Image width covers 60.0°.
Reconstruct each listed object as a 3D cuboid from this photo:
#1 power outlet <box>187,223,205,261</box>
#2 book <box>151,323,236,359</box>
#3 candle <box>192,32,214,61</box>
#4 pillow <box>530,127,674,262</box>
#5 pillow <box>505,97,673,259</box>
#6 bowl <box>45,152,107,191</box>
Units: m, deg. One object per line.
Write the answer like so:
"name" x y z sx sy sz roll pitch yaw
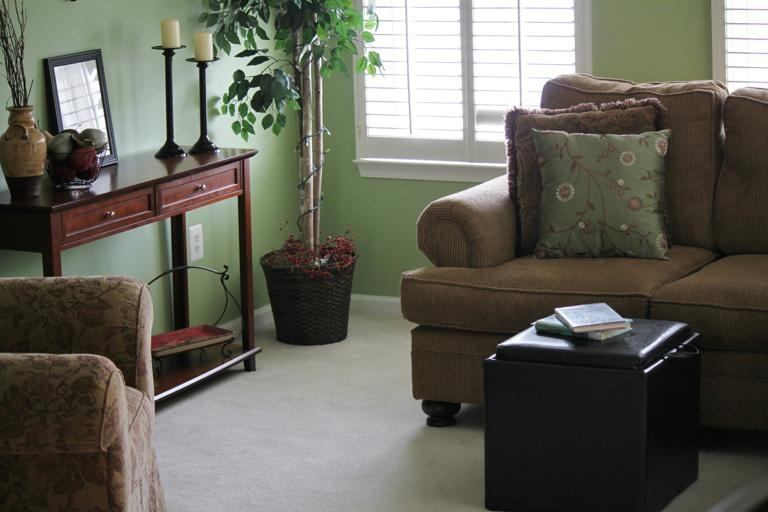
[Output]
"power outlet" -0.994 -0.072 3.500 0.034 0.208 0.191 1 5 21
"book" -0.928 0.386 3.178 0.264 0.036 0.161 -10 16 -37
"candle" -0.869 -1.007 3.202 0.087 0.136 0.058 -5 11 -13
"pillow" 0.900 -0.253 2.747 0.574 0.552 0.202 2 -1 9
"pillow" 0.878 -0.309 2.793 0.701 0.693 0.239 -1 -9 16
"bowl" -1.182 -0.331 2.529 0.158 0.107 0.153 0 10 0
